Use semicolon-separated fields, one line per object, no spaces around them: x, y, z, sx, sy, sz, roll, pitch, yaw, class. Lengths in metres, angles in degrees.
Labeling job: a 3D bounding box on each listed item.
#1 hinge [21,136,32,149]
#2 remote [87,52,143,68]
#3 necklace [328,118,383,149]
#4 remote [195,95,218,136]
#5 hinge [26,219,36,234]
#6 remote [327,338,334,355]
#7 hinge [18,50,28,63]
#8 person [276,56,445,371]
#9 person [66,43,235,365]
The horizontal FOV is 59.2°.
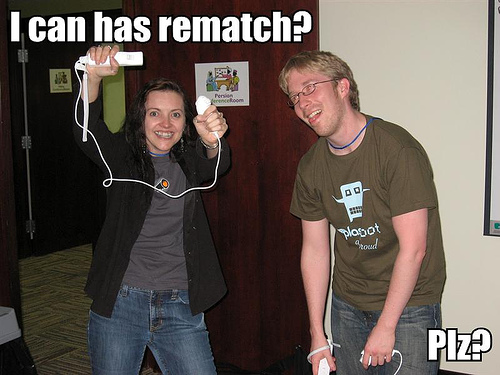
-2.828;-0.577;5.539;0.131;0.152;0.033;-5;6;-29;hinge
-0.584;-0.597;2.049;0.318;0.087;0.094;-5;10;-6;remote
0.490;-0.246;2.051;0.182;0.033;0.119;-40;-14;8;necklace
-0.200;-0.354;2.085;0.091;0.164;0.042;-36;-2;13;remote
-2.862;0.508;5.733;0.125;0.184;0.061;-10;11;-20;hinge
0.400;0.801;2.207;0.017;0.071;0.048;-4;-2;2;remote
-2.829;-1.635;5.462;0.130;0.201;0.025;3;17;2;hinge
0.529;0.156;2.118;0.467;1.601;0.700;-15;14;-43;person
-0.464;0.075;2.148;0.761;1.539;0.444;-6;10;-2;person
